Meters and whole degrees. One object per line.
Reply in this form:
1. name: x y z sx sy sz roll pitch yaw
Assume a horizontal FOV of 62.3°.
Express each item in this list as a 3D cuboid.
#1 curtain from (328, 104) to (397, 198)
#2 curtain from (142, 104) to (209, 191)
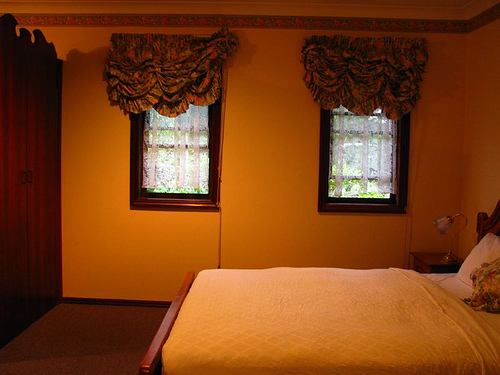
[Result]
1. curtain: 1.196 -0.428 4.343 0.849 1.242 0.094 1 1 -2
2. curtain: -0.787 -0.462 4.368 0.784 1.096 0.050 1 -1 -2
